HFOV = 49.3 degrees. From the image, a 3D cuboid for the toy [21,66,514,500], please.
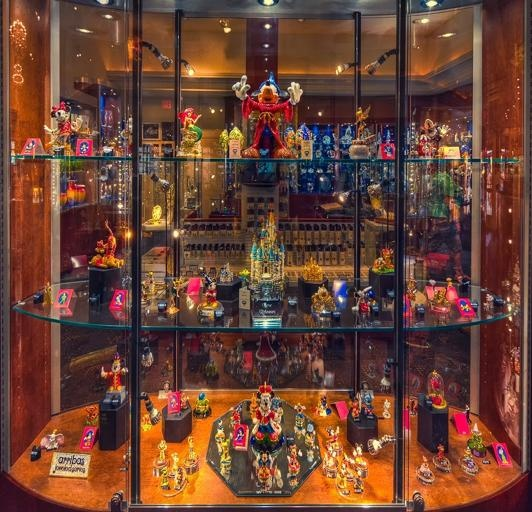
[{"bbox_3d":[0.006,0.087,2.736,1.519,1.752,0.575,0,-1,-2],"label":"toy"}]
